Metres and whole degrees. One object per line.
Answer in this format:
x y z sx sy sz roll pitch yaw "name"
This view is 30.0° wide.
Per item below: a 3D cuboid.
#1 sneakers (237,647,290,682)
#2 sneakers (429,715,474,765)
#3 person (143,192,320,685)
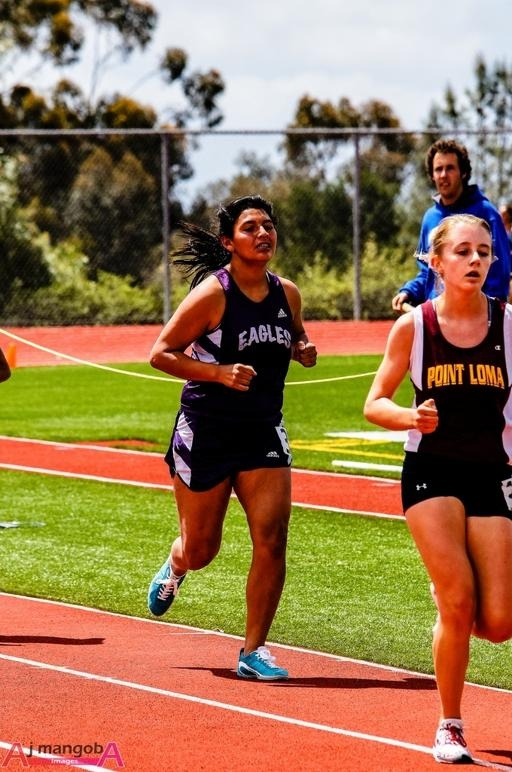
0.011 0.985 3.409 0.224 0.114 0.077 4 -7 15 "sneakers"
0.490 0.909 2.476 0.083 0.123 0.151 3 -2 -20 "sneakers"
-0.095 0.158 3.554 0.596 1.766 0.859 2 -2 3 "person"
